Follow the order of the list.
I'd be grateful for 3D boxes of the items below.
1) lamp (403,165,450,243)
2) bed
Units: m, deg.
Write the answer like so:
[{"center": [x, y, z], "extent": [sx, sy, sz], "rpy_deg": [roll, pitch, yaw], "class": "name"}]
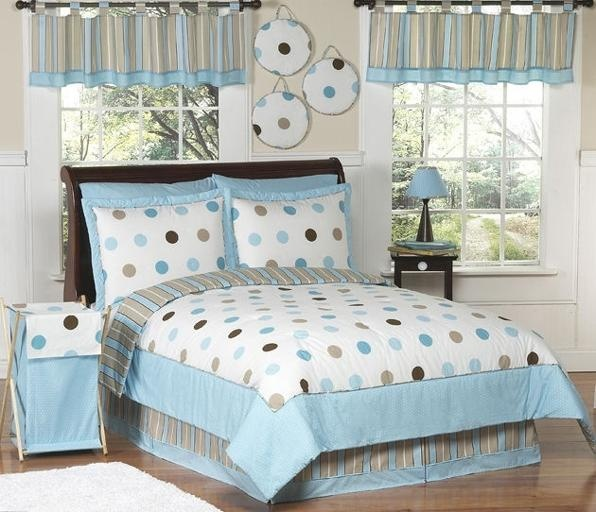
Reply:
[{"center": [0.837, -0.329, 4.121], "extent": [0.312, 0.469, 0.292], "rpy_deg": [3, 4, 14], "class": "lamp"}, {"center": [-0.154, 0.223, 3.149], "extent": [1.675, 1.170, 2.078], "rpy_deg": [-7, 10, -33], "class": "bed"}]
